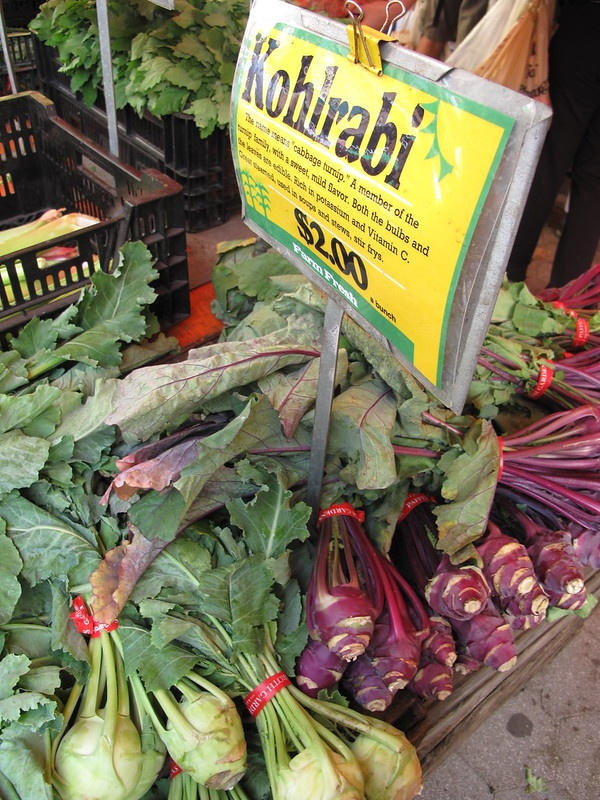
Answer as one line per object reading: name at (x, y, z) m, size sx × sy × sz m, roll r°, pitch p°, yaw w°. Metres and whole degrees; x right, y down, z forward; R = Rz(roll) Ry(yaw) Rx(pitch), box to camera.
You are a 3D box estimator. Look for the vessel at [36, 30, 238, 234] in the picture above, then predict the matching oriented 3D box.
vessel at (-0.829, -1.347, 3.222) m, size 0.839 × 0.434 × 1.359 m, roll -34°, pitch 62°, yaw -27°
